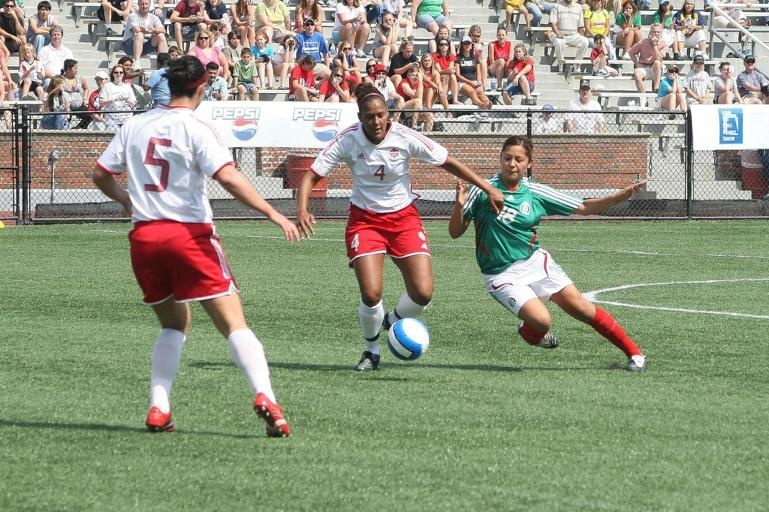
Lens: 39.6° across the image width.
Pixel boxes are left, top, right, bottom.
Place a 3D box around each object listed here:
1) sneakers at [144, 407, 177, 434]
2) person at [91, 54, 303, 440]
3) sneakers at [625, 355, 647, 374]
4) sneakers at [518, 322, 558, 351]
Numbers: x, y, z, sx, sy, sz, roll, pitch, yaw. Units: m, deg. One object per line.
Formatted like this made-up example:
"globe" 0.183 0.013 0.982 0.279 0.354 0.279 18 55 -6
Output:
"sneakers" -1.685 1.244 8.006 0.122 0.122 0.262 2 -5 6
"person" -1.480 -0.075 7.904 1.535 2.762 0.526 2 10 13
"sneakers" 2.241 0.937 9.379 0.222 0.112 0.180 -1 11 -8
"sneakers" 1.502 0.787 9.853 0.473 0.183 0.221 15 3 -27
